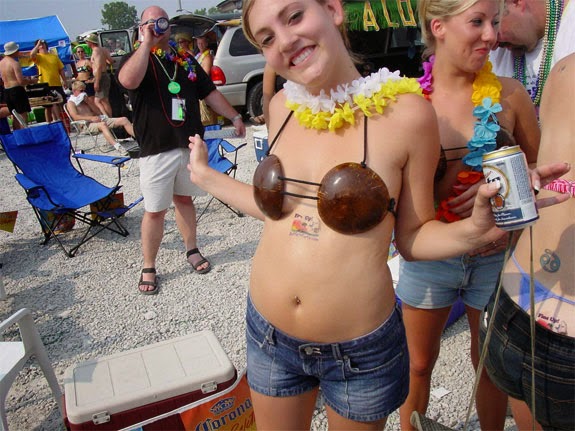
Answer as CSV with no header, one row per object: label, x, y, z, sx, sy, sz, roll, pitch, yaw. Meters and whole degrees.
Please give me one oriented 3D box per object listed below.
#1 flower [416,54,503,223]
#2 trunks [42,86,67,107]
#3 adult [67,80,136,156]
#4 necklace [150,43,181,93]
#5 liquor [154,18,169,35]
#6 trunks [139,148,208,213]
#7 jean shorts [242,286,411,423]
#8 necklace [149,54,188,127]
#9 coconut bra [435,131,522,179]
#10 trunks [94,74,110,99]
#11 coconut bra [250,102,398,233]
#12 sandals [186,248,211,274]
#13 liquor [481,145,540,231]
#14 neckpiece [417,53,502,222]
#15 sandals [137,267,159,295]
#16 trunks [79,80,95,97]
flower,0.757,-0.332,2.052,0.490,0.695,0.206,7,-4,-22
trunks,-5.459,-2.818,10.355,0.277,0.595,1.683,-18,26,-18
adult,-3.919,-2.069,9.230,1.820,1.230,0.824,13,28,29
necklace,-1.022,-1.221,3.720,0.219,0.358,0.017,-22,10,-42
liquor,-1.028,-1.561,3.629,0.082,0.130,0.187,2,27,23
trunks,-0.928,-0.284,3.462,0.318,0.535,0.567,13,24,42
jean shorts,0.133,0.451,1.632,0.592,0.389,0.377,7,27,24
necklace,-1.035,-1.035,3.997,0.259,0.041,0.856,-24,-1,-15
coconut bra,0.805,-0.231,1.883,0.299,0.195,0.169,-15,-17,20
trunks,-4.249,-2.959,10.045,0.330,0.578,0.455,10,25,-23
coconut bra,0.112,-0.092,1.380,0.414,0.206,0.408,8,43,24
sandals,-0.844,0.428,4.186,0.126,0.146,0.368,-27,23,-18
liquor,0.639,-0.077,1.259,0.152,0.224,0.123,3,27,24
neckpiece,0.832,-0.318,2.006,0.452,0.712,0.194,0,1,25
sandals,-1.239,0.591,3.885,0.110,0.127,0.326,-2,9,-8
trunks,-4.666,-2.960,10.292,0.278,0.498,0.360,-12,19,-36
